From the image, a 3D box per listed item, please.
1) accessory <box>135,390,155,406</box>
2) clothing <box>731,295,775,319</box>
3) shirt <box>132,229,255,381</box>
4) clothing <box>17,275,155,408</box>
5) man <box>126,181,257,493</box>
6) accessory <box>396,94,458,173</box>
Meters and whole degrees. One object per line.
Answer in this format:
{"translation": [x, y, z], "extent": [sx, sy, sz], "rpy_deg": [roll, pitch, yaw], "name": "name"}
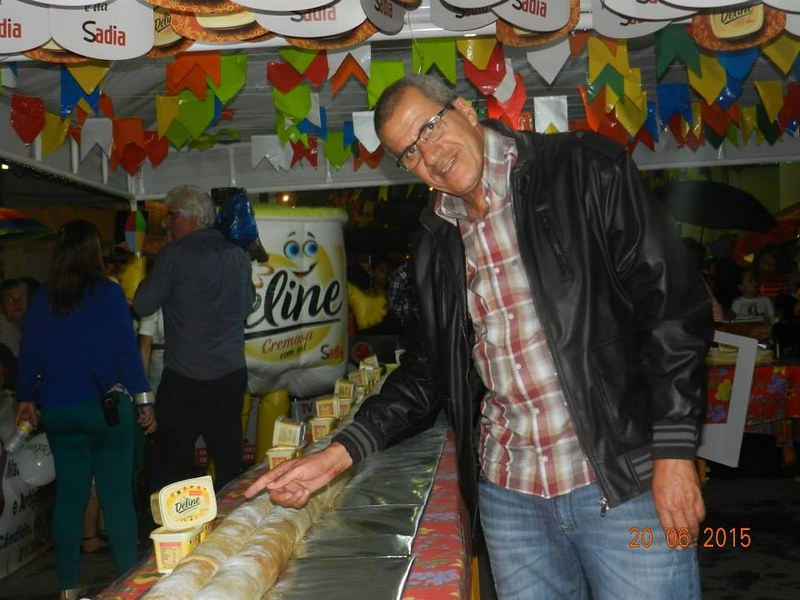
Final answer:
{"translation": [-1.556, 0.591, 4.401], "extent": [0.089, 0.068, 0.088], "rpy_deg": [1, -7, -18], "name": "accessory"}
{"translation": [3.729, 0.086, 7.604], "extent": [0.409, 0.253, 0.290], "rpy_deg": [9, 11, 24], "name": "clothing"}
{"translation": [-1.284, -0.002, 4.592], "extent": [0.524, 0.910, 0.772], "rpy_deg": [13, 13, 38], "name": "shirt"}
{"translation": [-1.887, 0.254, 4.288], "extent": [0.907, 0.906, 0.474], "rpy_deg": [0, 2, -4], "name": "clothing"}
{"translation": [-1.297, 0.510, 4.698], "extent": [0.712, 2.377, 0.699], "rpy_deg": [2, 6, -15], "name": "man"}
{"translation": [0.104, -0.592, 2.675], "extent": [0.214, 0.066, 0.221], "rpy_deg": [-47, 1, 30], "name": "accessory"}
